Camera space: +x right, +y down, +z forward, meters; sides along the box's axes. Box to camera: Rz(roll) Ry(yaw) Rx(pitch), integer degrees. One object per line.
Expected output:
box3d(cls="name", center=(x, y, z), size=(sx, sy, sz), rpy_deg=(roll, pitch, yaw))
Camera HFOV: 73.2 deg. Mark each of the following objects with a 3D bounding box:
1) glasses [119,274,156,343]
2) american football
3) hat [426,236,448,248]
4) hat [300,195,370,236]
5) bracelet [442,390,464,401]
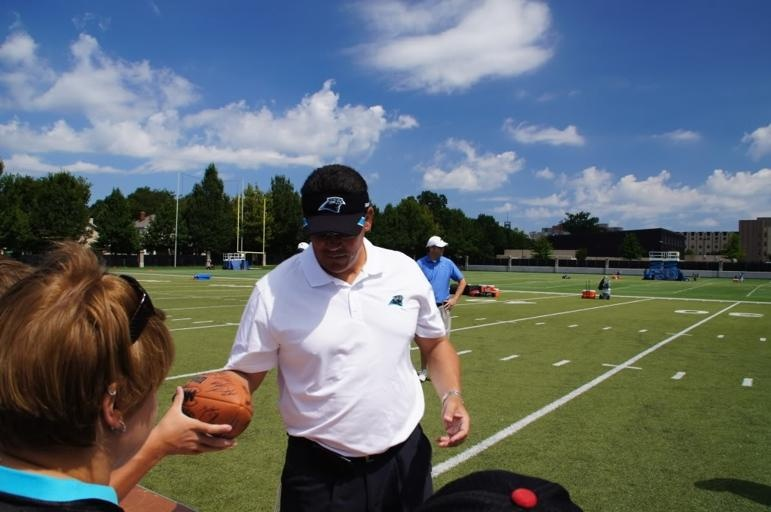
box3d(cls="glasses", center=(-0.867, 0.185, 1.819), size=(0.052, 0.198, 0.199), rpy_deg=(-21, -23, -41))
box3d(cls="american football", center=(-0.828, 0.670, 2.511), size=(0.352, 0.292, 0.281), rpy_deg=(20, -3, -24))
box3d(cls="hat", center=(0.811, -0.219, 8.881), size=(0.423, 0.251, 0.317), rpy_deg=(2, 6, 42))
box3d(cls="hat", center=(-0.279, -0.270, 2.801), size=(0.365, 0.210, 0.507), rpy_deg=(1, 25, -3))
box3d(cls="bracelet", center=(0.362, 0.786, 2.890), size=(0.072, 0.021, 0.076), rpy_deg=(-34, -7, 37))
